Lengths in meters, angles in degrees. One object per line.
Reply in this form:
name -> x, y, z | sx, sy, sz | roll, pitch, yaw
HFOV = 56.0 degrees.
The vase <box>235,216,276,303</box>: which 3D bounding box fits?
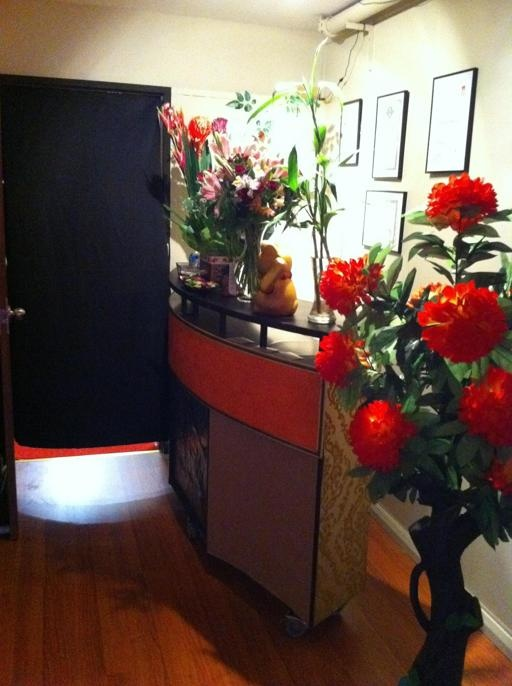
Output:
vase -> -0.006, -0.300, 1.751 | 0.121, 0.259, 0.146 | 3, -23, -11
